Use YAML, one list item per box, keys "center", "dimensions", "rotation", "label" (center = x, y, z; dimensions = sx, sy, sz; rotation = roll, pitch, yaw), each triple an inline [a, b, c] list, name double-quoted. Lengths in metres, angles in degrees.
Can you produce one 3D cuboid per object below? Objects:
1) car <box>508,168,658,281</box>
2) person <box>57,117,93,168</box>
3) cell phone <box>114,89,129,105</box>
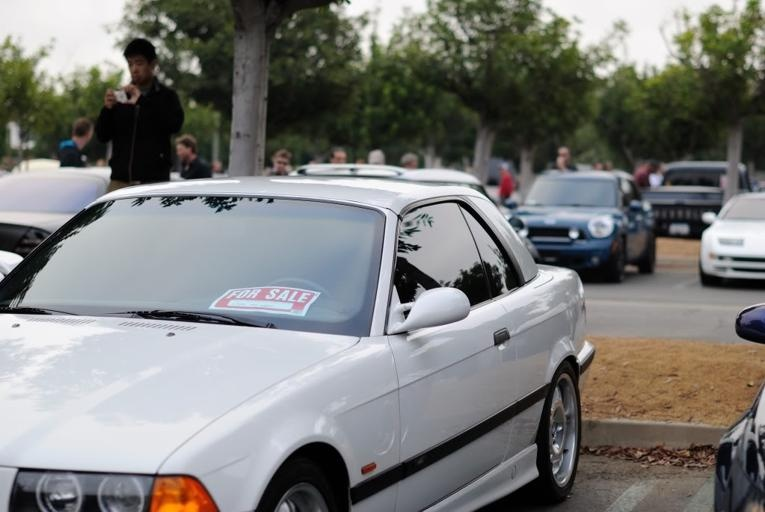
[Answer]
- center: [3.915, -0.552, 16.503]
  dimensions: [1.733, 1.256, 2.903]
  rotation: [-1, -1, 21]
  label: "car"
- center: [-4.397, -1.603, 12.729]
  dimensions: [0.419, 0.706, 1.643]
  rotation: [-2, 8, -20]
  label: "person"
- center: [-2.209, -1.338, 7.524]
  dimensions: [0.120, 0.104, 0.107]
  rotation: [-2, 8, -15]
  label: "cell phone"
